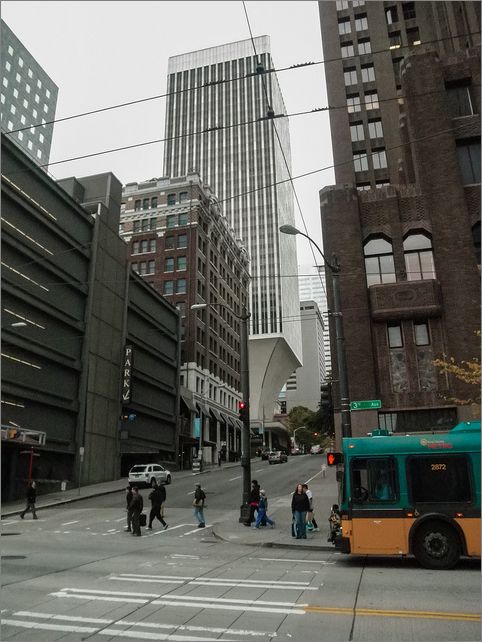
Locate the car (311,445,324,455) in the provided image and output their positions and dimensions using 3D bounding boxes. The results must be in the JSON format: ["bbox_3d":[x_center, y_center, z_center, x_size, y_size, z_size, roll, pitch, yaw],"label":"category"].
[{"bbox_3d":[11.952,20.652,87.194,1.465,1.654,2.820,-4,-9,19],"label":"car"}]

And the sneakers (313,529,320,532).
[{"bbox_3d":[2.509,6.942,18.171,0.212,0.174,0.077,9,-21,-32],"label":"sneakers"}]

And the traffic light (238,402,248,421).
[{"bbox_3d":[0.091,3.588,21.389,0.301,0.791,0.516,-5,-15,8],"label":"traffic light"}]

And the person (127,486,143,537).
[{"bbox_3d":[-3.730,6.689,19.229,0.429,1.608,1.303,0,-16,-12],"label":"person"}]

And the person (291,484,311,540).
[{"bbox_3d":[1.802,5.815,16.648,0.563,1.539,1.560,-4,-15,4],"label":"person"}]

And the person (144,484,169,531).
[{"bbox_3d":[-3.163,7.076,20.820,0.722,1.674,2.363,-1,-16,-9],"label":"person"}]

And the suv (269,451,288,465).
[{"bbox_3d":[4.108,15.233,61.020,0.913,0.968,2.573,-3,-7,16],"label":"suv"}]
